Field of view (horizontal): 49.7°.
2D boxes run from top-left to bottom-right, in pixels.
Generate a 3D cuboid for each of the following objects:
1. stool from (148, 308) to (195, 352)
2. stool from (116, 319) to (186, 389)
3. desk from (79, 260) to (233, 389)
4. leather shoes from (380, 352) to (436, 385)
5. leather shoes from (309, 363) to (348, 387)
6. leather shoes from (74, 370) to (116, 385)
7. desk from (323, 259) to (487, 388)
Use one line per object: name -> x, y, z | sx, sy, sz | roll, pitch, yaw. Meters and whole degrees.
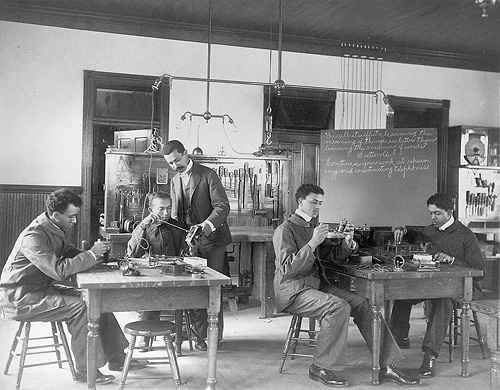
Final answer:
stool -> -0.812, 1.379, 5.695 | 0.504, 0.516, 0.422 | 0, -6, -2
stool -> -0.845, 1.333, 4.617 | 0.509, 0.523, 0.571 | 1, -8, -5
desk -> -0.789, 0.973, 4.666 | 0.986, 0.908, 0.980 | 1, -5, -8
leather shoes -> 1.511, 1.598, 4.950 | 0.618, 0.290, 0.216 | -3, -2, -22
leather shoes -> 0.690, 1.604, 4.876 | 0.365, 0.179, 0.137 | 1, 1, 37
leather shoes -> -1.339, 1.588, 4.715 | 0.372, 0.173, 0.147 | 1, -3, 1
desk -> 1.422, 1.071, 5.218 | 1.214, 0.996, 1.000 | 0, -7, -13
